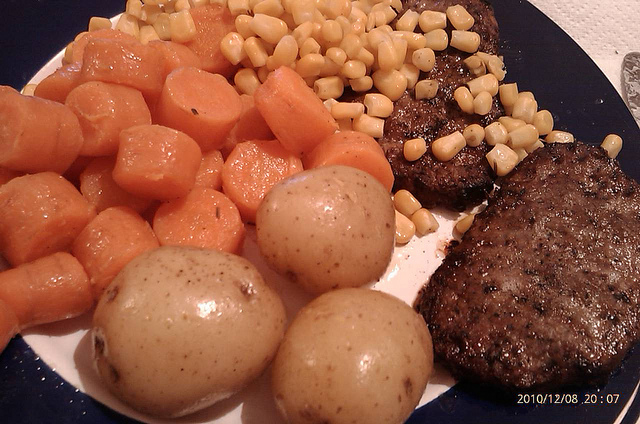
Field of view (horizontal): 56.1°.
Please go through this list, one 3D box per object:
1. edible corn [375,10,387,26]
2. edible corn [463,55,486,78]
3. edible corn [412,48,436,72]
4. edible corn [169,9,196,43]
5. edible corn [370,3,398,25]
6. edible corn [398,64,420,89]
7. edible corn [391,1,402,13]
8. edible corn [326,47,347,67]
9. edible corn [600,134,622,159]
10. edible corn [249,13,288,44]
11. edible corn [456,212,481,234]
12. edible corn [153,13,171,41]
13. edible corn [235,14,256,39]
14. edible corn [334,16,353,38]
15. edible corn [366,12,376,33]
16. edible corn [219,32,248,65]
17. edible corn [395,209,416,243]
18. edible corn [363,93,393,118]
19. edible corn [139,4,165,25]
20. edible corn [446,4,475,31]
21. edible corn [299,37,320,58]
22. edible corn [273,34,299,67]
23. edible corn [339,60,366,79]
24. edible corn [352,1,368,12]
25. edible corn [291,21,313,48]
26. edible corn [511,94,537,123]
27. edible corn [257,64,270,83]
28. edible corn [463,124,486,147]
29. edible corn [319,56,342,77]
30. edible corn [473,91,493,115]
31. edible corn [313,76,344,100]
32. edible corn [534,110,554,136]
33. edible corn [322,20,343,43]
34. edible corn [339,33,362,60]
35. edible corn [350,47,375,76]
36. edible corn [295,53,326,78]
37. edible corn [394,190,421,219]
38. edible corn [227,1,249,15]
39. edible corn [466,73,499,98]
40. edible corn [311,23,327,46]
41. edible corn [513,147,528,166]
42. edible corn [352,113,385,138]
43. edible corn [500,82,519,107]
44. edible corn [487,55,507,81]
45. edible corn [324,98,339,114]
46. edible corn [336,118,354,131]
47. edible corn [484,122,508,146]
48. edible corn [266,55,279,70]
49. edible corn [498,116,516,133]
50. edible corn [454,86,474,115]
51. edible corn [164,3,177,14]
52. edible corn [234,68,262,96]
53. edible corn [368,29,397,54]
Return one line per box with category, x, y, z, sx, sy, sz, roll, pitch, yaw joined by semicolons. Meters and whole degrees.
edible corn;0.372;-1.180;3.660;0.054;0.024;0.088;7;79;-5
edible corn;0.934;-0.865;3.597;0.104;0.143;0.059;8;43;25
edible corn;0.614;-0.899;3.534;0.117;0.069;0.126;-34;105;-3
edible corn;-0.798;-1.066;3.493;0.154;0.063;0.176;-13;85;27
edible corn;0.407;-1.232;3.731;0.145;0.060;0.111;44;101;10
edible corn;0.541;-0.824;3.644;0.117;0.093;0.130;32;71;19
edible corn;0.484;-1.262;3.693;0.051;0.014;0.057;-33;115;-10
edible corn;0.097;-0.912;3.499;0.098;0.062;0.104;39;28;-4
edible corn;1.713;-0.377;3.506;0.087;0.081;0.142;32;86;-18
edible corn;-0.302;-1.078;3.527;0.206;0.138;0.144;24;71;13
edible corn;0.851;0.077;3.465;0.111;0.114;0.056;-41;86;26
edible corn;-0.995;-1.133;3.672;0.036;0.144;0.151;0;106;-6
edible corn;-0.451;-1.088;3.529;0.096;0.072;0.142;-6;92;-8
edible corn;0.152;-1.105;3.610;0.103;0.097;0.118;-30;100;-52
edible corn;0.314;-1.159;3.666;0.029;0.093;0.098;3;99;-17
edible corn;-0.514;-0.968;3.551;0.154;0.131;0.178;-20;67;-4
edible corn;0.481;0.076;3.545;0.066;0.247;0.145;-41;73;8
edible corn;0.345;-0.623;3.532;0.169;0.109;0.130;-3;67;3
edible corn;-1.037;-1.201;3.635;0.108;0.034;0.120;32;76;-14
edible corn;0.844;-1.173;3.612;0.106;0.057;0.183;-36;78;3
edible corn;-0.067;-0.957;3.508;0.051;0.097;0.095;-4;41;-42
edible corn;-0.196;-0.925;3.497;0.118;0.181;0.099;5;29;-11
edible corn;0.202;-0.841;3.544;0.148;0.080;0.105;-23;68;-5
edible corn;0.248;-1.299;3.775;0.061;0.070;0.071;1;46;9
edible corn;-0.099;-1.056;3.552;0.084;0.060;0.175;29;80;11
edible corn;1.221;-0.608;3.581;0.131;0.151;0.167;15;70;27
edible corn;-0.341;-0.830;3.590;0.041;0.084;0.075;-6;23;-44
edible corn;0.906;-0.448;3.509;0.117;0.066;0.121;41;96;4
edible corn;0.063;-0.850;3.552;0.103;0.103;0.071;-21;50;-24
edible corn;0.960;-0.644;3.547;0.114;0.060;0.126;7;97;-23
edible corn;0.064;-0.733;3.550;0.147;0.133;0.114;-7;38;-18
edible corn;1.343;-0.534;3.585;0.099;0.073;0.147;1;77;-5
edible corn;0.082;-1.054;3.565;0.122;0.061;0.120;51;52;-22
edible corn;0.186;-0.970;3.552;0.146;0.052;0.165;23;62;-20
edible corn;0.254;-0.885;3.520;0.146;0.155;0.041;29;25;-13
edible corn;-0.056;-0.849;3.483;0.116;0.151;0.062;39;43;-26
edible corn;0.538;-0.055;3.529;0.128;0.174;0.143;45;82;-8
edible corn;-0.487;-1.204;3.535;0.079;0.073;0.096;-4;35;-2
edible corn;0.970;-0.746;3.567;0.166;0.061;0.121;-20;87;4
edible corn;-0.010;-1.058;3.572;0.080;0.063;0.113;-2;48;-37
edible corn;1.197;-0.335;3.541;0.079;0.022;0.083;46;70;-12
edible corn;0.281;-0.503;3.505;0.164;0.061;0.113;18;80;-11
edible corn;1.131;-0.695;3.598;0.109;0.119;0.141;-6;94;3
edible corn;1.065;-0.872;3.607;0.099;0.040;0.151;-16;90;-31
edible corn;0.074;-0.629;3.562;0.057;0.067;0.071;-3;62;-15
edible corn;0.153;-0.519;3.567;0.067;0.036;0.081;5;87;0
edible corn;1.041;-0.453;3.554;0.106;0.103;0.154;22;55;-1
edible corn;-0.275;-0.866;3.508;0.062;0.070;0.074;16;102;-4
edible corn;1.119;-0.521;3.569;0.077;0.041;0.092;-2;49;-9
edible corn;0.862;-0.681;3.592;0.096;0.180;0.110;3;91;-12
edible corn;-0.909;-1.232;3.658;0.057;0.046;0.065;-1;60;-20
edible corn;-0.438;-0.783;3.633;0.154;0.068;0.160;-41;80;1
edible corn;0.355;-1.026;3.528;0.115;0.063;0.170;-21;56;2
